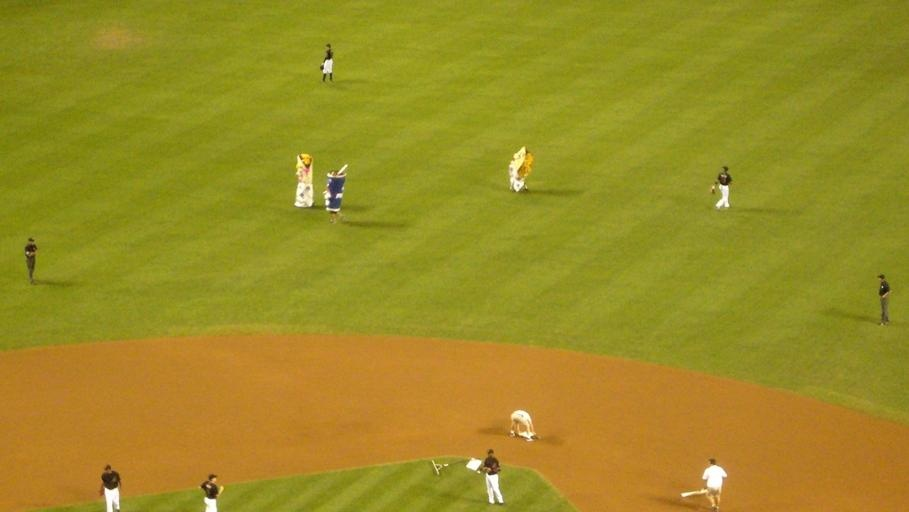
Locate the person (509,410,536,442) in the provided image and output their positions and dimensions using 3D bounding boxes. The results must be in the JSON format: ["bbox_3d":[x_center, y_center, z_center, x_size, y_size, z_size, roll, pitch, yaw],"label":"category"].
[{"bbox_3d":[3.178,7.854,93.324,1.448,1.244,1.064,4,5,5],"label":"person"}]
